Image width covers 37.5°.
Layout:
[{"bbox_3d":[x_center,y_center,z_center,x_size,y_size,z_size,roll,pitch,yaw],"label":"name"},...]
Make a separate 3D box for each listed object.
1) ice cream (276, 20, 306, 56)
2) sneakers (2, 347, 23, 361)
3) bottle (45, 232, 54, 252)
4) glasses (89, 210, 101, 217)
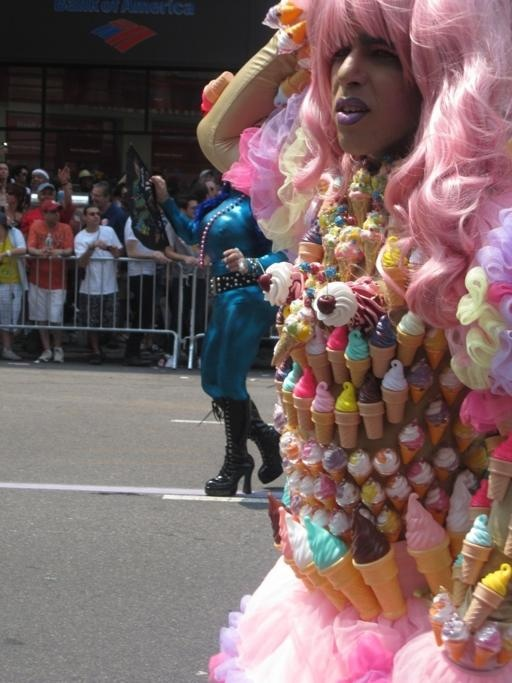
[{"bbox_3d":[0.081,-0.689,1.705,0.036,0.032,0.096,-24,-8,-39],"label":"ice cream"},{"bbox_3d":[-2.855,0.153,8.787,0.375,0.123,0.122,5,10,42],"label":"sneakers"},{"bbox_3d":[-2.312,-1.112,8.421,0.079,0.202,0.094,0,8,-16],"label":"bottle"},{"bbox_3d":[-1.780,-1.421,8.390,0.073,0.039,0.078,-6,-23,-15],"label":"glasses"}]
